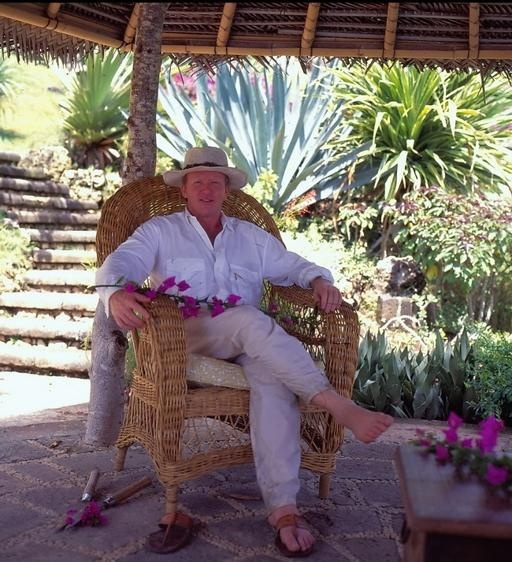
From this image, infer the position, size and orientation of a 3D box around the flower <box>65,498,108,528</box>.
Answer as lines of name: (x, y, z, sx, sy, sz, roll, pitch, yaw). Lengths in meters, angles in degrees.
flower: (-0.575, 0.796, 1.740, 0.130, 0.067, 0.097, 2, 0, 16)

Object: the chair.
chair: (-0.264, 0.283, 2.236, 1.102, 1.412, 1.025, 1, 5, -24)
